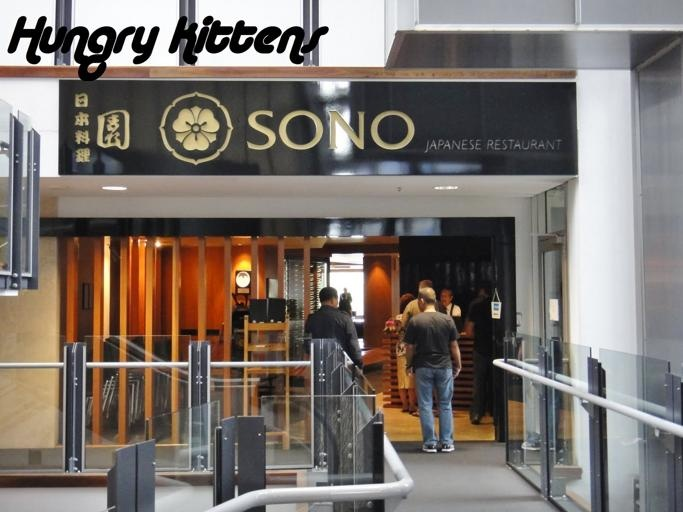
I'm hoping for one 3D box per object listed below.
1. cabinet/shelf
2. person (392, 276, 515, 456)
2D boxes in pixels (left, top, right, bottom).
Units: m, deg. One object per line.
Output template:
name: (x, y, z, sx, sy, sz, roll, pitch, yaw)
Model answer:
cabinet/shelf: (-0.794, 1.242, 9.489, 0.493, 1.226, 1.997, 2, -5, -6)
person: (1.046, 1.276, 10.302, 0.505, 1.832, 0.701, -3, -7, 43)
